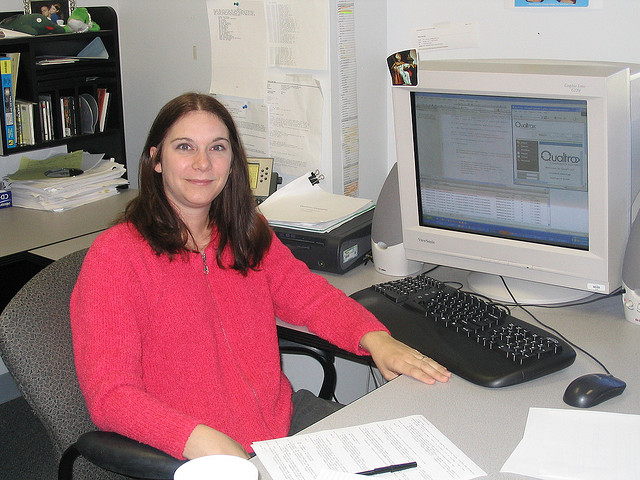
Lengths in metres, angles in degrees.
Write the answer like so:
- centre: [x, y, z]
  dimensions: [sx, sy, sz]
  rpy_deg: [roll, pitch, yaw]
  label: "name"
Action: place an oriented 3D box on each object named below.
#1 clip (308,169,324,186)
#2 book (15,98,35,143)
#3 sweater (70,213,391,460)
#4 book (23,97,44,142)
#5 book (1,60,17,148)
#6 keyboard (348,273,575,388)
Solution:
- centre: [-0.014, -0.237, 1.851]
  dimensions: [0.035, 0.043, 0.109]
  rpy_deg: [2, 18, 12]
  label: "clip"
- centre: [-1.313, -0.538, 2.168]
  dimensions: [0.151, 0.171, 0.023]
  rpy_deg: [26, 29, 38]
  label: "book"
- centre: [-0.265, 0.180, 1.181]
  dimensions: [0.639, 0.572, 0.522]
  rpy_deg: [-6, 24, -28]
  label: "sweater"
- centre: [-1.284, -0.542, 2.177]
  dimensions: [0.149, 0.171, 0.025]
  rpy_deg: [27, 37, 33]
  label: "book"
- centre: [-1.351, -0.599, 2.117]
  dimensions: [0.044, 0.327, 0.275]
  rpy_deg: [-10, 23, -34]
  label: "book"
- centre: [0.308, 0.199, 1.202]
  dimensions: [0.250, 0.077, 0.535]
  rpy_deg: [-14, 21, -32]
  label: "keyboard"
